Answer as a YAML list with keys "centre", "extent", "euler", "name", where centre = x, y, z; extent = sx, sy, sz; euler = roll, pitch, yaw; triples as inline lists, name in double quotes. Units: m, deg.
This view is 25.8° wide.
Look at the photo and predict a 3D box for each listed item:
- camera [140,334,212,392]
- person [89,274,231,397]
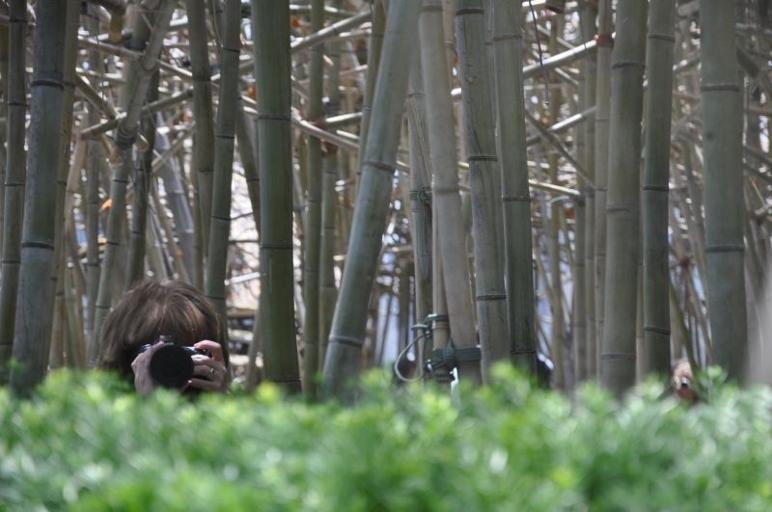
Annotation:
- centre: [-1.162, 0.568, 9.141]
  extent: [0.301, 0.295, 0.108]
  euler: [2, 1, -9]
  name: "camera"
- centre: [-1.257, 0.454, 9.498]
  extent: [0.699, 0.730, 0.702]
  euler: [5, -5, -29]
  name: "person"
